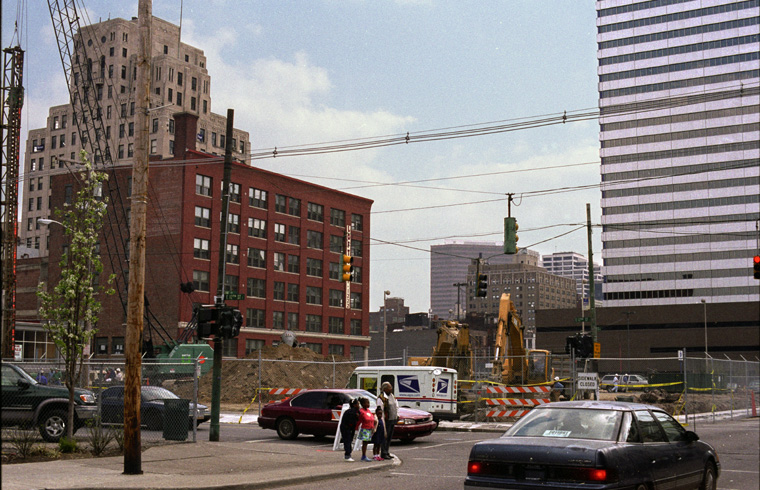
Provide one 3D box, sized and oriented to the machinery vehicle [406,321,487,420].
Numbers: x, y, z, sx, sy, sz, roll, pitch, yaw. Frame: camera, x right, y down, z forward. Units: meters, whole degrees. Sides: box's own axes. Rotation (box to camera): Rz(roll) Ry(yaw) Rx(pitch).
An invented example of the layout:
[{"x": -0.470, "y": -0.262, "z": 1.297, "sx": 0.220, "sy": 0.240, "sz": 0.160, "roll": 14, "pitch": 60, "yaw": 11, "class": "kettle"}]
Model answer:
[{"x": 6.641, "y": 9.029, "z": 96.994, "sx": 6.390, "sy": 7.697, "sz": 4.673, "roll": -1, "pitch": 1, "yaw": 32, "class": "machinery vehicle"}]
